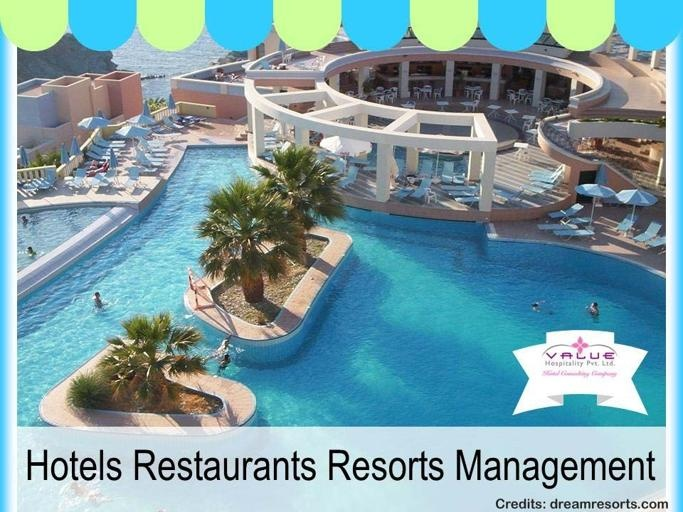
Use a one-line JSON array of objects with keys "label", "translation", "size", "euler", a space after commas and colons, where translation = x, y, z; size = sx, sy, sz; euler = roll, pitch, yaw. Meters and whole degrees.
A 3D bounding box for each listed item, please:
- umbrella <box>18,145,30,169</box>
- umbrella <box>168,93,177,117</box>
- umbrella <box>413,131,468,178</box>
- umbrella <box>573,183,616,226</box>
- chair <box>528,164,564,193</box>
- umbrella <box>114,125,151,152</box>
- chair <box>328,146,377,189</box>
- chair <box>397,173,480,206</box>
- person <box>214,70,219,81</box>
[{"label": "umbrella", "translation": [-18.227, -5.722, 27.236], "size": [0.545, 1.137, 3.240], "euler": [-4, 14, -32]}, {"label": "umbrella", "translation": [-12.362, -11.013, 34.620], "size": [0.503, 1.407, 1.209], "euler": [0, 14, -18]}, {"label": "umbrella", "translation": [6.517, -7.376, 31.337], "size": [4.279, 1.488, 4.910], "euler": [3, 45, 6]}, {"label": "umbrella", "translation": [12.258, -2.466, 22.975], "size": [2.005, 1.643, 1.688], "euler": [-12, 31, -11]}, {"label": "chair", "translation": [10.917, -4.178, 25.302], "size": [2.318, 0.574, 1.425], "euler": [-30, 39, -30]}, {"label": "umbrella", "translation": [-12.622, -7.079, 29.068], "size": [2.436, 1.015, 2.019], "euler": [-5, 50, -15]}, {"label": "chair", "translation": [0.629, -5.255, 27.328], "size": [1.407, 0.608, 4.399], "euler": [6, 30, 7]}, {"label": "chair", "translation": [5.010, -3.361, 24.482], "size": [3.740, 0.795, 1.887], "euler": [7, 28, 11]}, {"label": "person", "translation": [-10.231, -14.862, 38.956], "size": [0.414, 0.952, 0.965], "euler": [1, 13, -15]}]
